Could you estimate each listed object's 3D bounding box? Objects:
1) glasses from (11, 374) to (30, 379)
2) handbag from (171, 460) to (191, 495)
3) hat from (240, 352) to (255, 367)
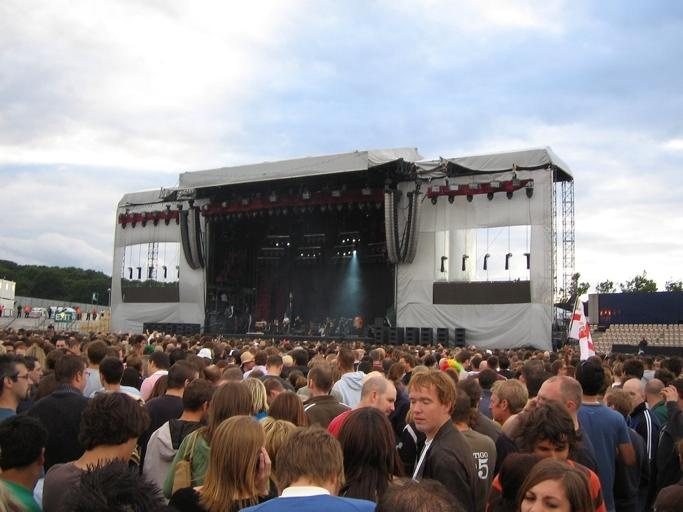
[{"bbox_3d":[-3.081,1.149,6.039,0.040,0.077,0.164,1,-6,16],"label":"glasses"},{"bbox_3d":[-1.317,1.823,5.181,0.126,0.274,0.180,6,-6,-31],"label":"handbag"},{"bbox_3d":[-1.477,1.610,9.845,0.217,0.128,0.236,-12,4,5],"label":"hat"}]
